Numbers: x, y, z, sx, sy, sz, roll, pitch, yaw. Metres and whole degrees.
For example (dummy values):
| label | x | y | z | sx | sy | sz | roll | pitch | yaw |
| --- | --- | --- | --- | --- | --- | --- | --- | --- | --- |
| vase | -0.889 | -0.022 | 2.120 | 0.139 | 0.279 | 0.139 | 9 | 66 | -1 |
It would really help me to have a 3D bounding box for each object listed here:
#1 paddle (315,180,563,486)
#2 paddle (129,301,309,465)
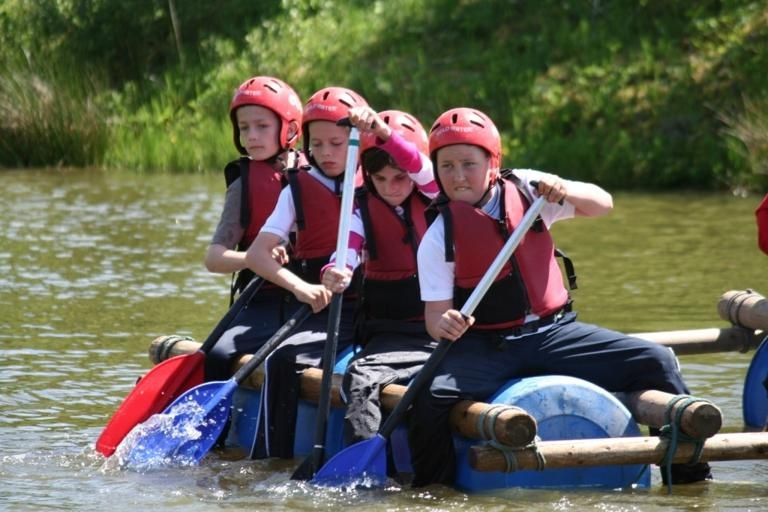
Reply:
| label | x | y | z | sx | sy | sz | roll | pitch | yaw |
| --- | --- | --- | --- | --- | --- | --- | --- | --- | --- |
| paddle | 0.564 | 0.726 | 12.312 | 0.683 | 3.834 | 0.148 | 34 | -4 | 25 |
| paddle | -1.360 | 1.260 | 12.883 | 0.115 | 1.866 | 0.391 | 31 | 7 | 31 |
